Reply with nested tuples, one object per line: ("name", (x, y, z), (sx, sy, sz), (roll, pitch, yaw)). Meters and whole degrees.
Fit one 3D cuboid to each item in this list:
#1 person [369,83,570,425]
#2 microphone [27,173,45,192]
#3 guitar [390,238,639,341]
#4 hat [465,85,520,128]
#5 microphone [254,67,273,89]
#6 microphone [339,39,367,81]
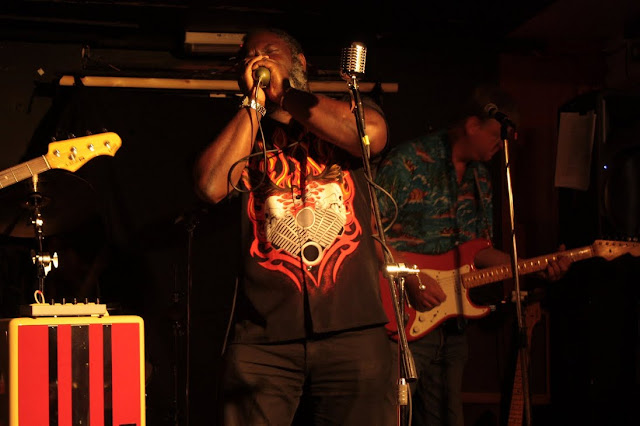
("person", (0.902, 0.109, 4.640), (1.015, 2.584, 0.343), (28, -22, -15))
("microphone", (-1.804, -0.194, 4.454), (0.087, 0.138, 0.057), (14, -16, -35))
("guitar", (1.188, 0.528, 4.783), (1.650, 0.799, 0.376), (6, -13, -8))
("hat", (1.303, -0.854, 5.286), (0.317, 0.380, 0.399), (24, 14, 1))
("microphone", (-0.278, -0.667, 3.456), (0.087, 0.108, 0.089), (1, 3, 5))
("microphone", (0.165, -0.737, 3.366), (0.108, 0.191, 0.129), (6, 2, 10))
